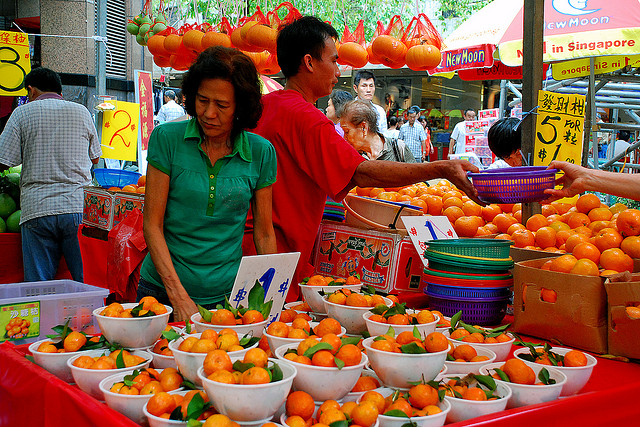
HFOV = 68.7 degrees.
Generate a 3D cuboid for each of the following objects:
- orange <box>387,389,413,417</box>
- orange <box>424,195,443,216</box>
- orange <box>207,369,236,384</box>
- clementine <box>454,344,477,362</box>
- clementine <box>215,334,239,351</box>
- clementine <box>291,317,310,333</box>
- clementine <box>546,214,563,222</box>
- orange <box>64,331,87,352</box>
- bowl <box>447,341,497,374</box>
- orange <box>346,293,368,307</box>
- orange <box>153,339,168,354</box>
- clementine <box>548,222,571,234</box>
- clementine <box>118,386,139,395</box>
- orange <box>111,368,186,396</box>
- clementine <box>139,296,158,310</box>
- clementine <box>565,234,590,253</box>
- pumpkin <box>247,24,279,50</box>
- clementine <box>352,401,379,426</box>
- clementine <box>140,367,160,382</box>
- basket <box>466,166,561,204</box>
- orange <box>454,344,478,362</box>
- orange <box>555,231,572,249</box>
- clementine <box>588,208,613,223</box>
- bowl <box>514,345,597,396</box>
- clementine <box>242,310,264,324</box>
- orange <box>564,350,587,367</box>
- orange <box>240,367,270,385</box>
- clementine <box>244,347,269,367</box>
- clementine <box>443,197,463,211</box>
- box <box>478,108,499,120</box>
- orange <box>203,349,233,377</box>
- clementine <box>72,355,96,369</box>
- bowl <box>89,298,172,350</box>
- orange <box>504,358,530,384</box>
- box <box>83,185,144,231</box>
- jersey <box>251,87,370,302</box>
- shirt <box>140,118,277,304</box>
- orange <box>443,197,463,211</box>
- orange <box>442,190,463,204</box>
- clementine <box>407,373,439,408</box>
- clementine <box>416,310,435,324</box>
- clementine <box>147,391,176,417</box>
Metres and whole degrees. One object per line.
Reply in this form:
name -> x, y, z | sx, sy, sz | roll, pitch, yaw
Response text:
orange -> 0.247, 0.604, 1.487 | 0.058, 0.080, 0.057 | 17, -23, -12
orange -> 0.802, -0.048, 3.292 | 0.123, 0.148, 0.122 | -9, 5, -38
orange -> -0.310, 0.501, 1.444 | 0.048, 0.046, 0.048 | 6, -19, 2
clementine -> 0.547, 0.527, 1.779 | 0.061, 0.057, 0.061 | 3, -41, -10
clementine -> -0.330, 0.451, 1.651 | 0.050, 0.051, 0.049 | 1, 10, -15
clementine -> -0.080, 0.441, 1.870 | 0.049, 0.060, 0.049 | 1, 9, 3
clementine -> 1.512, 0.028, 3.017 | 0.065, 0.055, 0.055 | 19, 1, 19
orange -> -0.936, 0.487, 1.822 | 0.070, 0.063, 0.057 | -24, 4, 8
bowl -> 0.554, 0.545, 1.761 | 0.158, 0.084, 0.159 | 0, -2, 0
orange -> 0.152, 0.369, 1.983 | 0.060, 0.062, 0.058 | 3, 24, -4
orange -> -0.608, 0.507, 1.790 | 0.047, 0.058, 0.047 | 6, 20, 1
clementine -> 1.405, 0.082, 2.753 | 0.064, 0.049, 0.086 | -3, 4, 0
clementine -> -0.635, 0.587, 1.558 | 0.064, 0.015, 0.032 | -1, 7, -9
orange -> -0.580, 0.575, 1.597 | 0.114, 0.045, 0.116 | 0, -2, 0
clementine -> -0.694, 0.357, 1.894 | 0.050, 0.050, 0.050 | 1, 17, -1
clementine -> 1.338, 0.149, 2.453 | 0.101, 0.101, 0.097 | -2, 4, 4
pumpkin -> -0.583, -1.785, 4.731 | 0.354, 0.249, 0.257 | 2, 7, 11
clementine -> 0.140, 0.600, 1.449 | 0.065, 0.066, 0.063 | 4, 12, 20
clementine -> -0.603, 0.574, 1.655 | 0.047, 0.040, 0.039 | 25, -37, -19
basket -> 0.980, -0.165, 2.488 | 0.431, 0.188, 0.409 | -1, 8, 7
orange -> 0.549, 0.528, 1.777 | 0.064, 0.059, 0.062 | 11, -39, -32
orange -> 1.369, 0.142, 2.653 | 0.080, 0.076, 0.080 | 0, -2, 3
clementine -> 1.686, 0.017, 2.823 | 0.093, 0.088, 0.092 | 0, -2, -39
bowl -> 0.923, 0.566, 1.832 | 0.213, 0.135, 0.216 | 1, -2, 0
clementine -> -0.276, 0.407, 1.847 | 0.052, 0.050, 0.052 | -5, 47, -11
orange -> 0.954, 0.548, 1.752 | 0.075, 0.045, 0.109 | 5, 8, 31
orange -> -0.200, 0.503, 1.448 | 0.055, 0.057, 0.055 | -12, 14, -32
clementine -> -0.209, 0.472, 1.544 | 0.060, 0.059, 0.059 | 16, 16, -9
clementine -> 0.927, -0.075, 3.279 | 0.090, 0.109, 0.092 | -20, -31, 7
box -> 3.466, -2.050, 9.667 | 0.352, 0.253, 1.086 | 3, 8, 16
orange -> -0.337, 0.493, 1.553 | 0.083, 0.086, 0.085 | -6, -11, -13
clementine -> -0.848, 0.533, 1.679 | 0.040, 0.041, 0.040 | 8, 1, -14
bowl -> -0.768, 0.472, 1.923 | 0.295, 0.128, 0.298 | 1, -6, 0
orange -> 0.694, 0.556, 1.655 | 0.057, 0.060, 0.076 | 7, 38, -35
box -> -1.890, -0.044, 4.500 | 0.634, 0.399, 0.647 | 8, -1, 33
jersey -> 0.039, -0.065, 2.842 | 0.598, 1.312, 0.665 | 1, 2, -39
shirt -> -0.561, 0.003, 2.352 | 0.777, 1.003, 0.447 | 9, 9, -26
orange -> 0.931, -0.074, 3.277 | 0.090, 0.091, 0.107 | -20, 38, -19
orange -> 0.975, -0.134, 3.473 | 0.110, 0.041, 0.109 | -19, 20, -37
clementine -> 0.347, 0.593, 1.555 | 0.094, 0.134, 0.128 | -3, -14, 11
clementine -> 0.420, 0.417, 1.882 | 0.049, 0.058, 0.048 | -5, -3, 1
clementine -> -0.501, 0.600, 1.480 | 0.086, 0.051, 0.053 | -2, 8, -18
